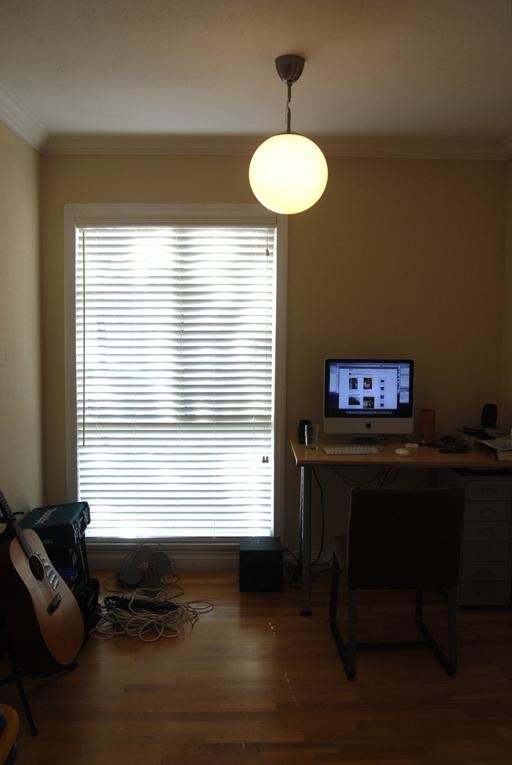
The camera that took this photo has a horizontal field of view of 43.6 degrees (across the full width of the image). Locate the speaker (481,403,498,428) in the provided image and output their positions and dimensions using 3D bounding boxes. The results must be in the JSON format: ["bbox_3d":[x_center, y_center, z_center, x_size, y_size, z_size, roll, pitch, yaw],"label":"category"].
[{"bbox_3d":[1.202,0.175,3.318,0.077,0.134,0.103,2,7,17],"label":"speaker"}]

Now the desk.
[{"bbox_3d":[0.499,0.771,2.899,0.916,0.599,0.684,-1,0,-3],"label":"desk"}]

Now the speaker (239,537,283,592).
[{"bbox_3d":[0.017,0.907,3.218,0.211,0.210,0.234,0,7,-2],"label":"speaker"}]

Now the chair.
[{"bbox_3d":[0.529,0.710,2.597,0.525,1.020,0.653,0,4,-1],"label":"chair"}]
